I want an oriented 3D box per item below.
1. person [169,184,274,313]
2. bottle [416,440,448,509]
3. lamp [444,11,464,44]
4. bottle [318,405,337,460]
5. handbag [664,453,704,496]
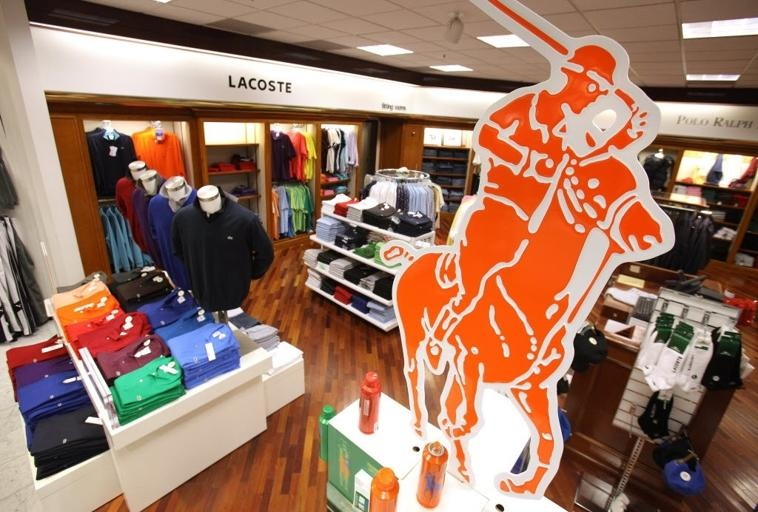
[{"bbox_3d":[-1.704,-0.040,4.782,1.031,1.400,0.348,-5,19,-14],"label":"person"},{"bbox_3d":[0.389,1.603,3.273,0.237,0.469,0.197,0,19,0],"label":"bottle"},{"bbox_3d":[0.879,-2.623,5.165,0.198,0.278,0.259,3,19,7],"label":"lamp"},{"bbox_3d":[-0.454,1.507,3.764,0.130,0.568,0.141,0,19,0],"label":"bottle"},{"bbox_3d":[2.748,1.954,4.027,0.364,0.361,0.131,0,-25,6],"label":"handbag"}]
